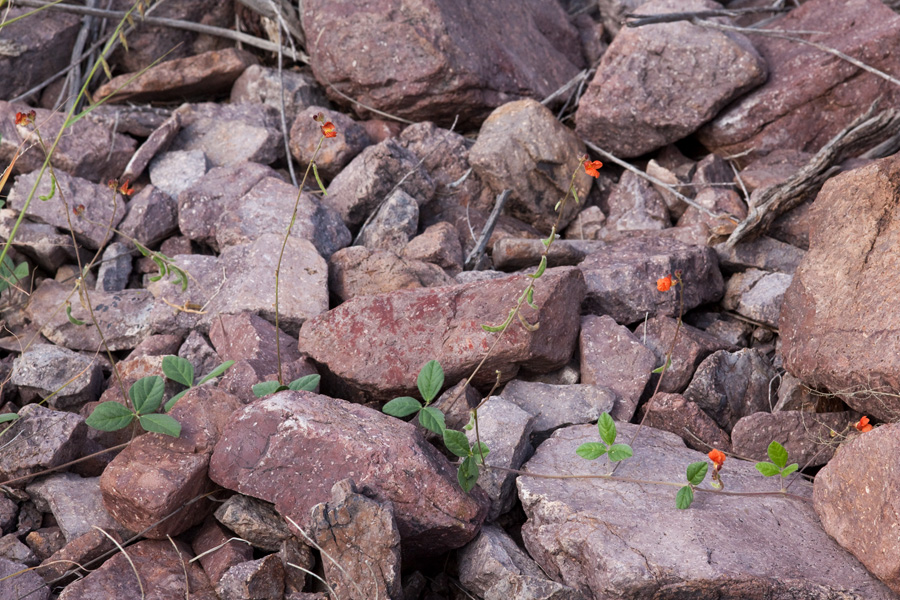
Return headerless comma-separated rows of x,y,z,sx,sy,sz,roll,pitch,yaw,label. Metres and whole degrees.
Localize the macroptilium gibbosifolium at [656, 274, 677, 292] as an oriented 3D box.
1.364,-0.107,6.012,0.069,0.036,0.095,18,79,30,macroptilium gibbosifolium
